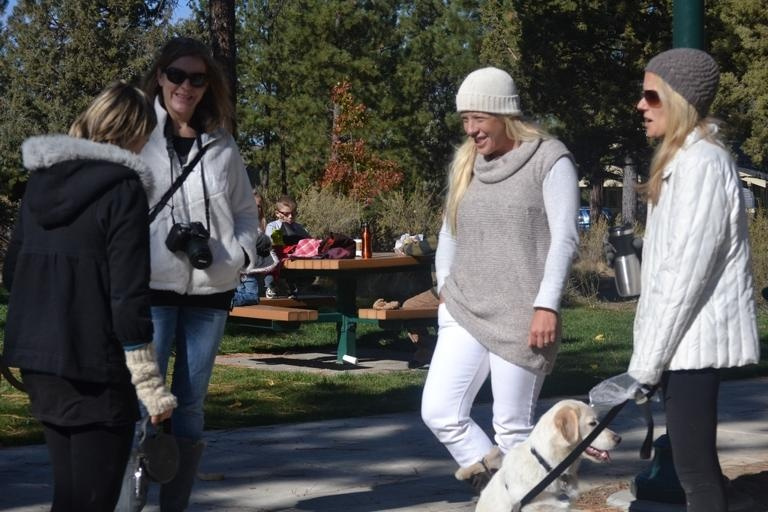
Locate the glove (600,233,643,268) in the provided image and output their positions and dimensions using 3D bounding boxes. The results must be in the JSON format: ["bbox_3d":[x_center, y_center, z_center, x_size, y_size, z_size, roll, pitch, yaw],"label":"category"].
[{"bbox_3d":[1.645,-0.045,7.081,0.278,0.273,0.167,-3,-1,3],"label":"glove"}]

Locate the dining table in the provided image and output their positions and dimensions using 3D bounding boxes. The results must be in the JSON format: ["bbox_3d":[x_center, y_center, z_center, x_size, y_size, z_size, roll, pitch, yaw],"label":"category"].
[{"bbox_3d":[-0.381,0.449,12.422,1.502,1.190,1.466,-5,6,-39],"label":"dining table"}]

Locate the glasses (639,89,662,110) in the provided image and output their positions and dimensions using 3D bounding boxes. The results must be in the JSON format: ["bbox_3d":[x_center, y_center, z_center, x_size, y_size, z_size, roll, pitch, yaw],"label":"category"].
[{"bbox_3d":[1.576,-0.920,6.041,0.106,0.043,0.101,20,13,-26],"label":"glasses"}]

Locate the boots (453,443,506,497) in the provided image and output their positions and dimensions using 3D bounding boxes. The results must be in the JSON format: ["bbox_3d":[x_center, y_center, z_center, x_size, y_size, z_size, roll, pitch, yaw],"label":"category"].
[{"bbox_3d":[0.573,1.299,6.362,0.175,0.425,0.151,21,28,-31],"label":"boots"}]

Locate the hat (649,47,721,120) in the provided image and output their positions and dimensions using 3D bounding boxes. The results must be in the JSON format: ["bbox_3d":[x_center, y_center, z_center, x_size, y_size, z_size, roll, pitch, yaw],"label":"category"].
[{"bbox_3d":[1.763,-1.025,6.109,0.420,0.327,0.377,17,19,27],"label":"hat"}]

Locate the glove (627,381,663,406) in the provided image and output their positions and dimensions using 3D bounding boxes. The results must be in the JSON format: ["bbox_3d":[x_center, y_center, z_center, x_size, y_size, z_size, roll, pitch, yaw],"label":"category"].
[{"bbox_3d":[1.476,0.778,5.922,0.154,0.094,0.185,1,-6,4],"label":"glove"}]

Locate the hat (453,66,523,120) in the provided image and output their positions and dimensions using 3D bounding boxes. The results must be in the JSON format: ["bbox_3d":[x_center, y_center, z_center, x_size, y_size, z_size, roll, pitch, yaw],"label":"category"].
[{"bbox_3d":[0.638,-1.008,6.422,0.342,0.261,0.326,-13,8,-24],"label":"hat"}]
